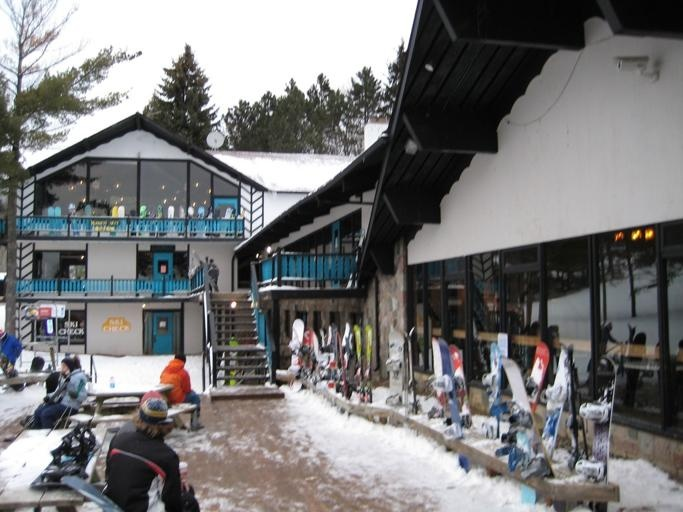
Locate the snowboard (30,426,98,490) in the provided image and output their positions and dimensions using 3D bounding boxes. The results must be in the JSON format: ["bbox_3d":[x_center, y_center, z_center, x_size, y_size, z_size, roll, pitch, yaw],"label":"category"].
[{"bbox_3d":[-3.144,2.351,6.983,0.263,0.462,1.068,2,-6,-1],"label":"snowboard"}]

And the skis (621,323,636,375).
[{"bbox_3d":[3.828,1.236,8.008,0.157,0.705,0.021,5,1,41],"label":"skis"}]

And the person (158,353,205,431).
[{"bbox_3d":[-3.183,2.737,11.987,0.603,1.510,0.769,-7,-8,30],"label":"person"}]

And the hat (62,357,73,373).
[{"bbox_3d":[-4.882,1.968,10.760,0.210,0.296,0.180,1,4,-30],"label":"hat"}]

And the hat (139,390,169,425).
[{"bbox_3d":[-2.018,1.630,6.418,0.208,0.263,0.361,5,-5,-29],"label":"hat"}]

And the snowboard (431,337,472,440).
[{"bbox_3d":[1.633,1.948,9.053,0.229,1.665,0.356,-3,-3,-39],"label":"snowboard"}]

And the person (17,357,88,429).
[{"bbox_3d":[-4.931,2.541,10.615,0.718,1.615,0.573,15,-12,-39],"label":"person"}]
